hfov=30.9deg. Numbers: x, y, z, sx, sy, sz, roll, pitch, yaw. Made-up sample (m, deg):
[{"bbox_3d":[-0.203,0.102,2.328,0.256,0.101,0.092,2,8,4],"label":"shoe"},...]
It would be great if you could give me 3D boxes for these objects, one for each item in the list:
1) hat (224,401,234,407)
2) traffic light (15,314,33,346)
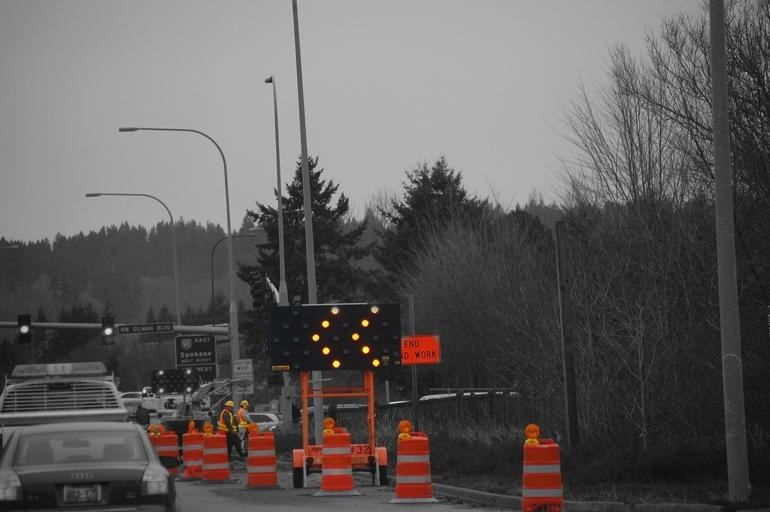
[{"bbox_3d":[-5.508,5.306,49.837,0.314,0.248,0.440,4,-10,10],"label":"hat"},{"bbox_3d":[-16.182,3.125,63.025,0.577,1.369,1.841,0,-12,-17],"label":"traffic light"}]
